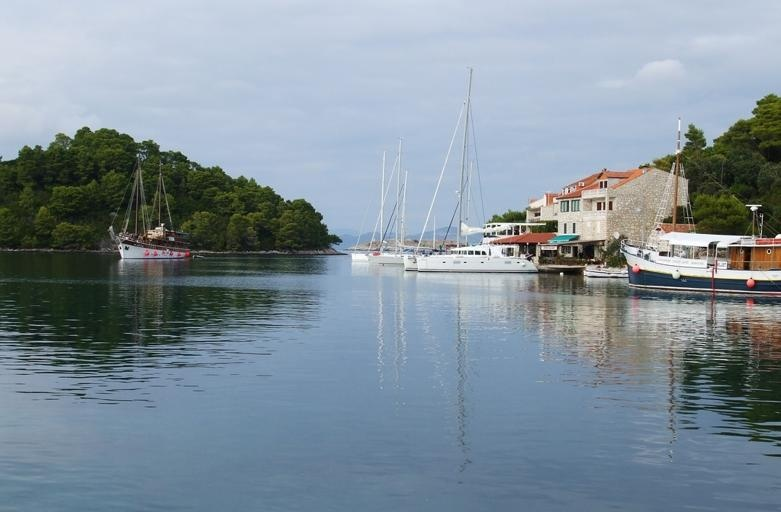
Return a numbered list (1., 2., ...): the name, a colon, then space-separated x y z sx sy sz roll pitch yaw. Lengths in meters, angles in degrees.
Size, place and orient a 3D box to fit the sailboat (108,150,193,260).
1. sailboat: -38.138 -6.114 157.387 5.358 15.119 20.544 5 3 18
